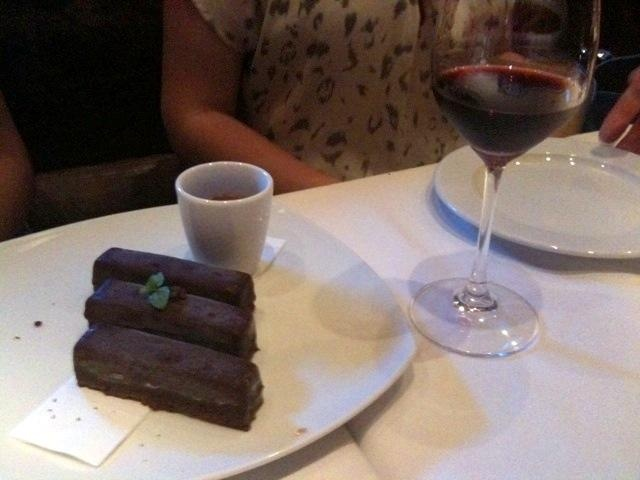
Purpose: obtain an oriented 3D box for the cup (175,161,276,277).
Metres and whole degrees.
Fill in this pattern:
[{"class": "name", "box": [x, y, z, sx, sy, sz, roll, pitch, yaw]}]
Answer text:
[{"class": "cup", "box": [-0.130, -0.029, 0.925, 0.174, 0.208, 0.181, 3, 38, -2]}]
